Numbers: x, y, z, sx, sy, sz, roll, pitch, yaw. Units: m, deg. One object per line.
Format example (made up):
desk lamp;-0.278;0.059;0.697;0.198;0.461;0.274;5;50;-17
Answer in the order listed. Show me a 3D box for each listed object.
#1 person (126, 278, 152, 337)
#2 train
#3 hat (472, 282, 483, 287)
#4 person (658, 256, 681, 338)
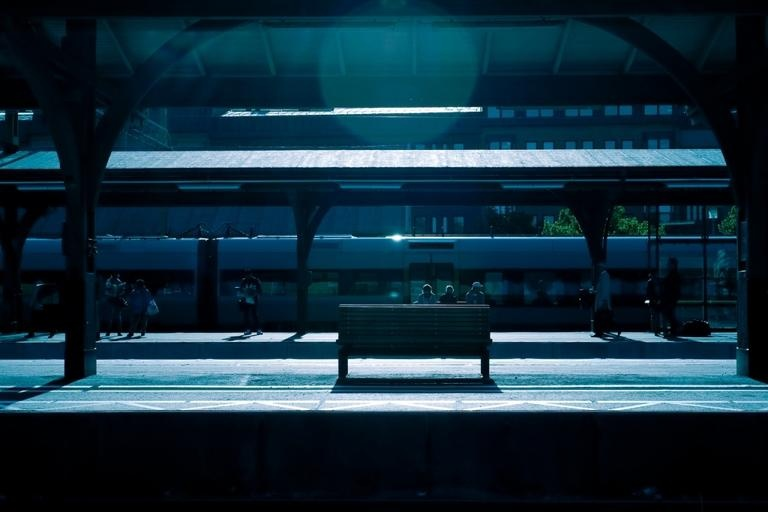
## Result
person;-6.291;1.398;21.057;0.660;1.482;1.344;-6;13;-16
train;0.315;0.755;22.265;25.324;2.762;2.569;1;-2;1
hat;2.383;0.702;21.008;0.261;0.101;0.240;-3;-9;20
person;6.987;1.080;20.037;0.443;1.901;1.014;3;14;17
